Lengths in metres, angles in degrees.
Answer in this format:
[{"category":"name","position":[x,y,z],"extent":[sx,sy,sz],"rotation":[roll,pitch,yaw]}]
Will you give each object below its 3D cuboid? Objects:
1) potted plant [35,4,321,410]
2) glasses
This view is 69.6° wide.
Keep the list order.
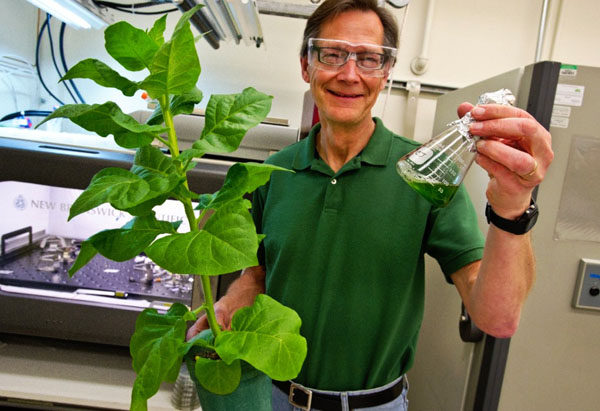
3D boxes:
[{"category":"potted plant","position":[-0.285,0.035,1.080],"extent":[0.632,1.000,0.281],"rotation":[3,4,1]},{"category":"glasses","position":[0.183,-0.525,1.554],"extent":[0.315,0.137,0.091],"rotation":[4,4,0]}]
